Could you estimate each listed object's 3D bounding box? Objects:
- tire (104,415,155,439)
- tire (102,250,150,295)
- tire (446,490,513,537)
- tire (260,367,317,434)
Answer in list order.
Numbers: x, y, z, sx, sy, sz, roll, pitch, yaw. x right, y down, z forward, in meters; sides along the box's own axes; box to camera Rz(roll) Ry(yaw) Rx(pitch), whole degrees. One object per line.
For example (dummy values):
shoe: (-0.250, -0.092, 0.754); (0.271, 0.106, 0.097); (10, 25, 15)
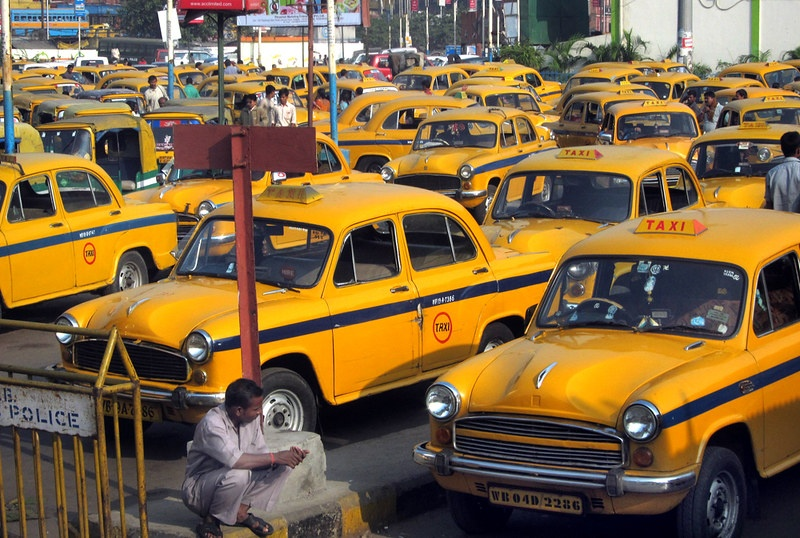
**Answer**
tire: (-2.921, 1.661, 12.784); (0.573, 0.144, 0.556); (1, 0, -15)
tire: (-3.867, 0.155, 17.111); (0.252, 0.788, 0.814); (4, -3, 23)
tire: (0.730, 2.176, 11.004); (0.570, 0.546, 0.216); (-2, 0, -41)
tire: (-1.123, 1.311, 12.058); (0.572, 0.555, 0.185); (25, -21, -30)
